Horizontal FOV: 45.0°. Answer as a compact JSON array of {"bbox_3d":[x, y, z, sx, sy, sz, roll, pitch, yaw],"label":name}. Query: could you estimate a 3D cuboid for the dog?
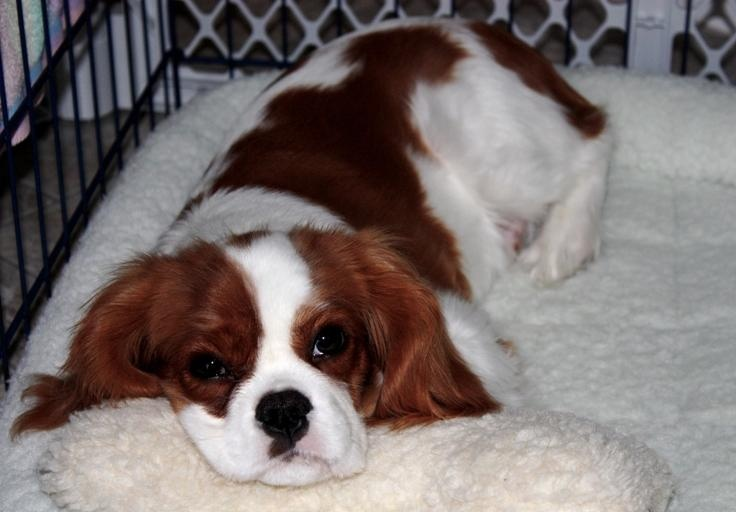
[{"bbox_3d":[-0.040,-0.087,3.014,1.343,0.724,2.043,24,44,24],"label":"dog"}]
